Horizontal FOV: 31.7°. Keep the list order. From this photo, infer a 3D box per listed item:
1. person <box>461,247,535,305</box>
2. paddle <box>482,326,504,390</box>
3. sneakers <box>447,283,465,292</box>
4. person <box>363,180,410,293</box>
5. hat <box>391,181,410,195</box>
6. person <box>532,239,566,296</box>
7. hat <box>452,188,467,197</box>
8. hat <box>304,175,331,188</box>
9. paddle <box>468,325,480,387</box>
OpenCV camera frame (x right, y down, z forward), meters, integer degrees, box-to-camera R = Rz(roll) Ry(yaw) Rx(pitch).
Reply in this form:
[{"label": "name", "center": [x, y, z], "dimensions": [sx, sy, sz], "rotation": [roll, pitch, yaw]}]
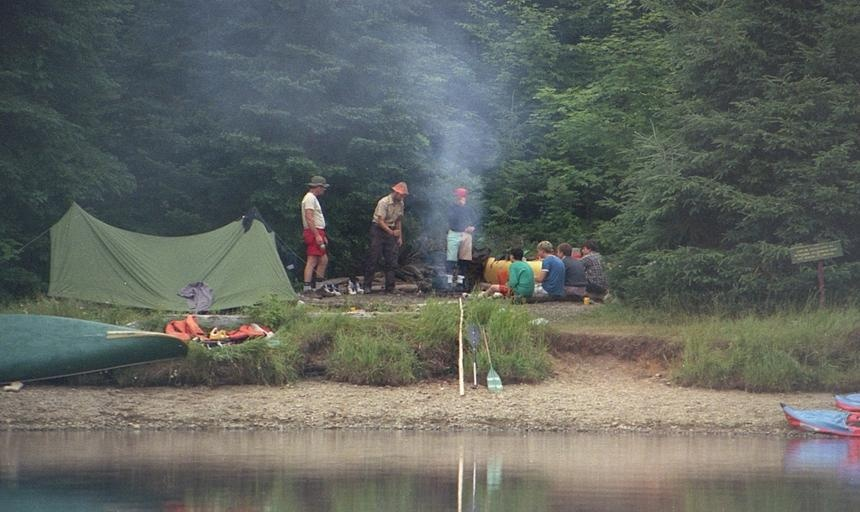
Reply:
[{"label": "person", "center": [1.891, 0.519, 39.850], "dimensions": [1.987, 1.345, 0.869], "rotation": [-8, -4, 40]}, {"label": "paddle", "center": [1.469, 2.491, 35.977], "dimensions": [0.401, 1.405, 1.070], "rotation": [-2, -3, 0]}, {"label": "sneakers", "center": [0.726, 0.889, 42.287], "dimensions": [0.186, 0.220, 0.544], "rotation": [2, -10, -40]}, {"label": "person", "center": [-1.236, -0.491, 41.267], "dimensions": [1.201, 2.917, 1.524], "rotation": [-2, -3, -2]}, {"label": "hat", "center": [-0.766, -1.810, 40.860], "dimensions": [0.444, 0.228, 0.446], "rotation": [23, -3, 25]}, {"label": "person", "center": [3.175, 0.380, 40.112], "dimensions": [0.804, 1.500, 1.137], "rotation": [-2, -3, 4]}, {"label": "hat", "center": [0.811, -1.812, 42.136], "dimensions": [0.314, 0.230, 0.304], "rotation": [0, -5, 5]}, {"label": "hat", "center": [-3.182, -2.090, 42.115], "dimensions": [0.587, 0.217, 0.550], "rotation": [5, -4, -19]}, {"label": "paddle", "center": [1.039, 2.359, 35.994], "dimensions": [0.268, 1.490, 0.842], "rotation": [-2, -3, 1]}]
